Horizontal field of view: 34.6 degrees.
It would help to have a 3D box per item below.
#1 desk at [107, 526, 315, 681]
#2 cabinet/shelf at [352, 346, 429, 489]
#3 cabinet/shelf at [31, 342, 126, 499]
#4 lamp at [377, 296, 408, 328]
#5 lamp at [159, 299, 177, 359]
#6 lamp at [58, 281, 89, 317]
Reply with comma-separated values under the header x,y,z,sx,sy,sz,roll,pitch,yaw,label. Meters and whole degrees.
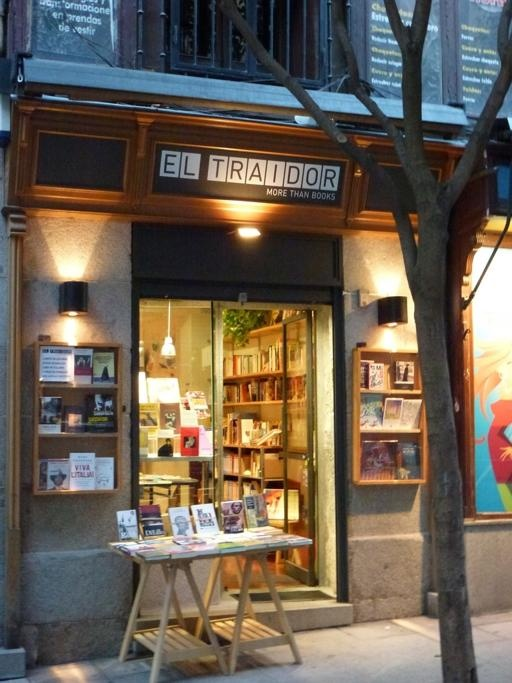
x,y,z,sx,sy,sz,roll,pitch,yaw,label
-0.317,1.571,4.978,1.059,0.787,0.857,0,-6,-32,desk
0.971,0.546,6.054,0.628,1.008,0.174,0,-5,-29,cabinet/shelf
-1.116,0.510,5.161,0.494,0.986,0.136,1,3,-15,cabinet/shelf
1.008,-0.225,6.078,0.196,0.209,0.200,1,-10,-6,lamp
-0.618,-0.083,5.771,0.115,0.407,0.061,0,-5,-23,lamp
-1.137,-0.270,5.201,0.176,0.234,0.190,-1,-5,5,lamp
